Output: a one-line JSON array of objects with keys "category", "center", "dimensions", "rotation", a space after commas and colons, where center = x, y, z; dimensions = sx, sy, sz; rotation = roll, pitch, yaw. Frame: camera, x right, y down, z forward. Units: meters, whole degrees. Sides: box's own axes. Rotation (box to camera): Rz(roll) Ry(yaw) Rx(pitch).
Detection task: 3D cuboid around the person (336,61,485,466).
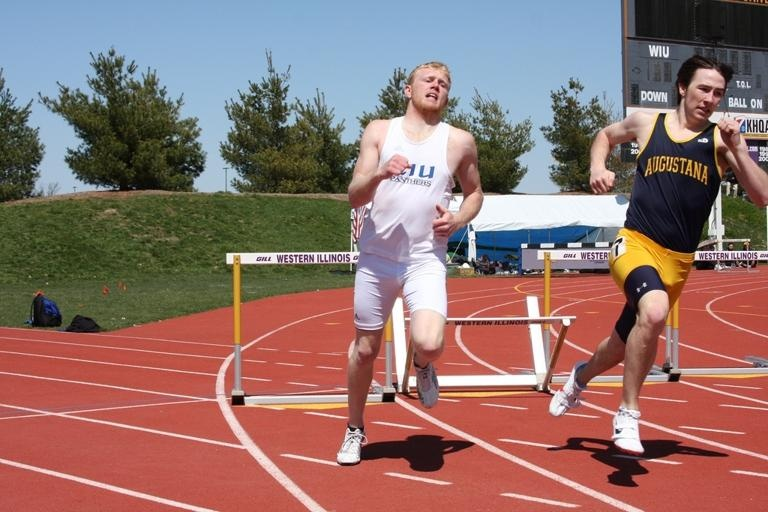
[{"category": "person", "center": [0.201, 0.121, 6.956], "dimensions": [1.302, 3.672, 0.717], "rotation": [-1, 5, 4]}]
